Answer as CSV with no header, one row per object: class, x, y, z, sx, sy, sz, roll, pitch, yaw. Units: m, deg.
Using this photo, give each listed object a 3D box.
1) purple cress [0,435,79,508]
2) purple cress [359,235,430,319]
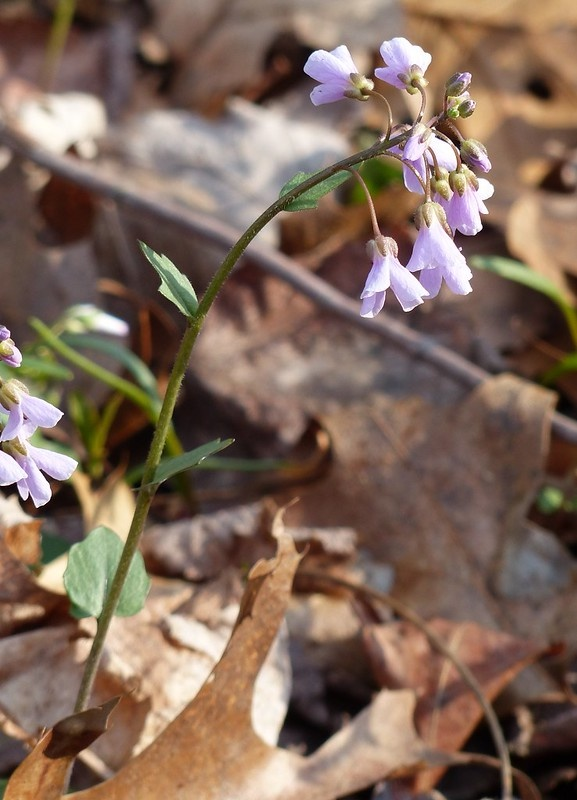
purple cress,-0.374,0.100,1.221,0.118,0.098,0.052,-10,25,-37
purple cress,0.139,-0.186,1.213,0.108,0.073,0.105,-10,81,-20
